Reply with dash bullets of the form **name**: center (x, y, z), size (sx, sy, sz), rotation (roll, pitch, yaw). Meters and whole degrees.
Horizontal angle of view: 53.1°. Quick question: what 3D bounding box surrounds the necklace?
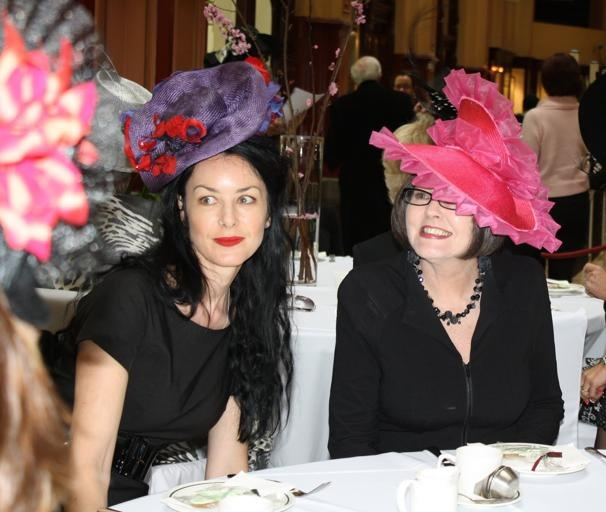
- **necklace**: center (0.460, 0.076, 1.814), size (0.170, 0.219, 0.039), rotation (-9, -19, -14)

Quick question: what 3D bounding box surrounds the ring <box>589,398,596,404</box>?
- **ring**: center (1.129, 0.569, 2.369), size (0.011, 0.016, 0.005), rotation (-33, -7, 0)

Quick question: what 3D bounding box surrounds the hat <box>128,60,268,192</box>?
- **hat**: center (-0.273, -0.358, 1.653), size (0.334, 0.312, 0.105), rotation (-18, -17, -11)

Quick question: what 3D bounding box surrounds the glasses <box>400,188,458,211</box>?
- **glasses**: center (0.357, -0.176, 1.846), size (0.094, 0.029, 0.092), rotation (24, -6, -40)

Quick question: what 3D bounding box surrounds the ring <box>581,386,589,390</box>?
- **ring**: center (1.089, 0.511, 2.354), size (0.016, 0.013, 0.017), rotation (-1, 1, 0)

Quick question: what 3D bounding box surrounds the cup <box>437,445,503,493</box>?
- **cup**: center (0.321, 0.399, 1.192), size (0.111, 0.075, 0.099), rotation (2, -21, 22)

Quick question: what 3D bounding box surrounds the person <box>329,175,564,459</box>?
- **person**: center (0.324, 0.157, 1.925), size (0.807, 0.852, 0.474), rotation (0, -10, -4)

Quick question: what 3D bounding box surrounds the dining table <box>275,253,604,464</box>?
- **dining table**: center (0.483, 0.416, 2.342), size (0.919, 0.630, 0.914), rotation (0, -2, 2)
